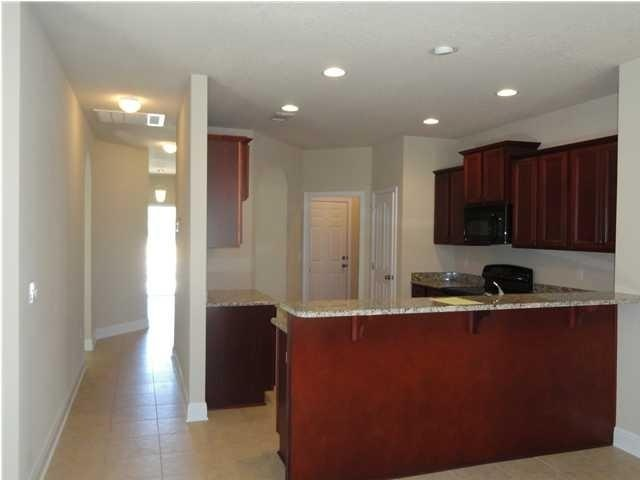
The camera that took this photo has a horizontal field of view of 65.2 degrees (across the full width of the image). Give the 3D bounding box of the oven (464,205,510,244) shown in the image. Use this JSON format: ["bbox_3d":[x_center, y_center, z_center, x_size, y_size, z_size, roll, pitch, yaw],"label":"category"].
[{"bbox_3d":[2.012,-0.159,5.898,0.356,0.444,0.672,-2,3,-25],"label":"oven"}]

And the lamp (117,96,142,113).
[{"bbox_3d":[-2.018,-1.422,5.312,0.238,0.133,0.401,-1,5,-21],"label":"lamp"}]

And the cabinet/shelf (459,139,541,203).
[{"bbox_3d":[2.177,-0.614,5.985,0.653,0.896,1.053,0,2,-18],"label":"cabinet/shelf"}]

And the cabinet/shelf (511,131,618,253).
[{"bbox_3d":[2.633,-0.413,5.019,0.488,1.098,1.336,-2,3,-29],"label":"cabinet/shelf"}]

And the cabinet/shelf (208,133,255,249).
[{"bbox_3d":[-0.953,-0.492,5.147,0.432,1.137,0.204,-2,6,-19],"label":"cabinet/shelf"}]
